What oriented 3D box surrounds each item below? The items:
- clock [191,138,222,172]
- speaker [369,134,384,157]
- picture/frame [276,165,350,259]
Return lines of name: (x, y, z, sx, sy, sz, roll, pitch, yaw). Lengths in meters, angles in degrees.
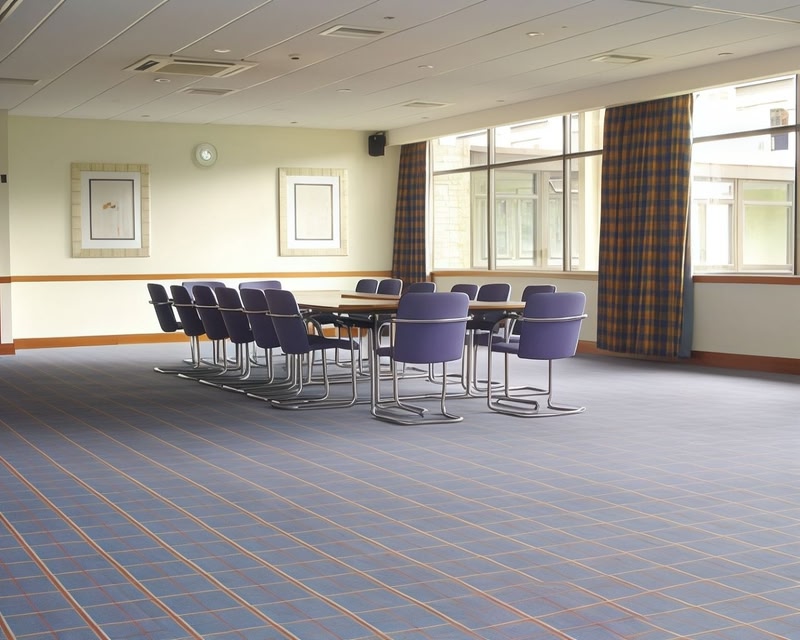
clock: (-3.398, -2.911, 11.309, 0.631, 0.438, 0.183, -20, 12, -22)
speaker: (-0.474, -3.341, 12.268, 0.270, 0.389, 0.124, 0, 7, 5)
picture/frame: (-1.617, -2.022, 12.067, 0.125, 1.515, 1.668, 12, 16, 35)
